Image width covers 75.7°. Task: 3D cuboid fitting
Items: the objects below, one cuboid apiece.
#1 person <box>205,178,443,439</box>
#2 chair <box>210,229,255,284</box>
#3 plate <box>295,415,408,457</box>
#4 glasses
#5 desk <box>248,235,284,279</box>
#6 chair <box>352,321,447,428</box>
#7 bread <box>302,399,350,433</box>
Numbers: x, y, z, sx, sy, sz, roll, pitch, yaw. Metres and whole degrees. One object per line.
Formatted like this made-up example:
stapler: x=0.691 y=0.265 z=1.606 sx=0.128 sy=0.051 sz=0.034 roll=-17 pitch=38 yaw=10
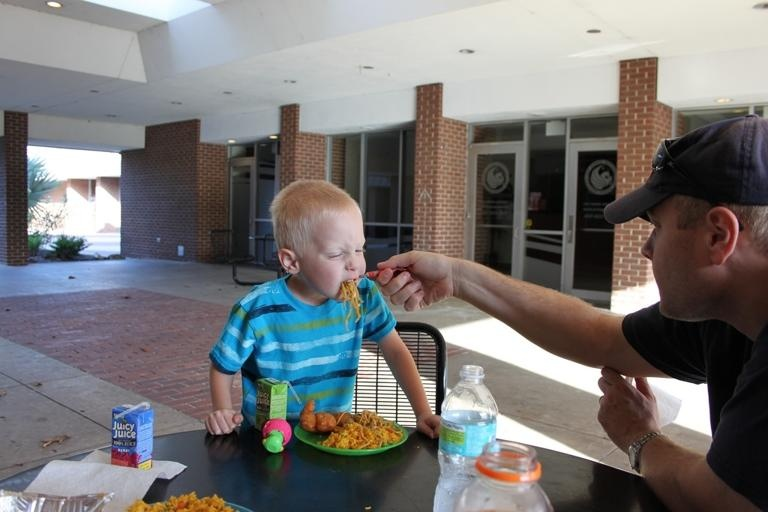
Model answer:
person: x=-0.242 y=0.224 z=2.124 sx=0.749 sy=1.061 sz=0.740 roll=11 pitch=3 yaw=-11
chair: x=-4.650 y=0.009 z=15.242 sx=0.947 sy=1.558 sz=0.882 roll=3 pitch=2 yaw=37
plate: x=-0.147 y=0.621 z=1.692 sx=0.376 sy=0.052 sz=0.379 roll=-4 pitch=-11 yaw=38
glasses: x=0.779 y=-0.186 z=1.295 sx=0.170 sy=0.218 sz=0.271 roll=8 pitch=3 yaw=40
desk: x=-3.563 y=-0.150 z=15.151 sx=0.692 sy=0.798 sz=1.188 roll=-15 pitch=5 yaw=-28
chair: x=0.081 y=0.523 z=2.389 sx=0.502 sy=0.702 sz=0.472 roll=0 pitch=-5 yaw=7
bread: x=-0.218 y=0.535 z=1.777 sx=0.148 sy=0.098 sz=0.218 roll=5 pitch=7 yaw=10
